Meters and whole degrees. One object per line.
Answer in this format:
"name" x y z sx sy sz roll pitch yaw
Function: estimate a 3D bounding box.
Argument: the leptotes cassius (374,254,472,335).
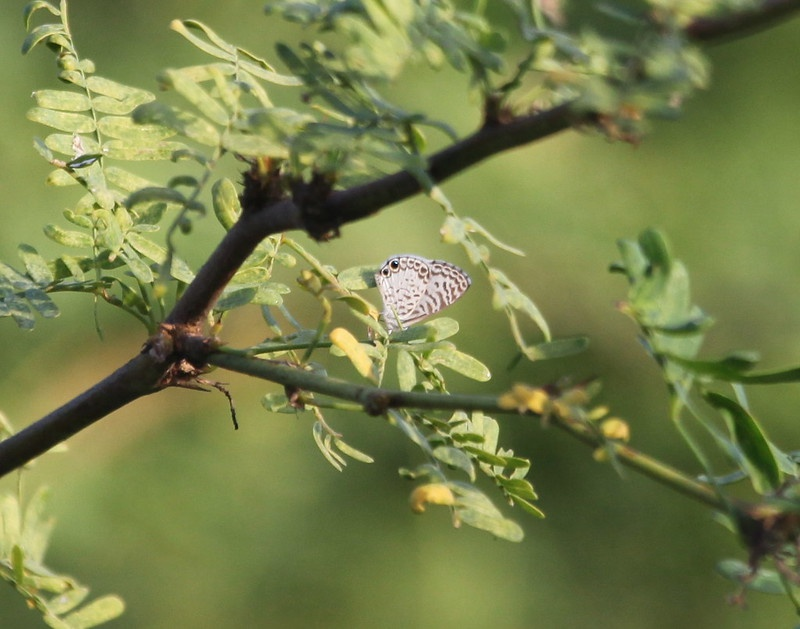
"leptotes cassius" 0.032 -0.055 2.018 0.112 0.147 0.208 -30 -12 17
